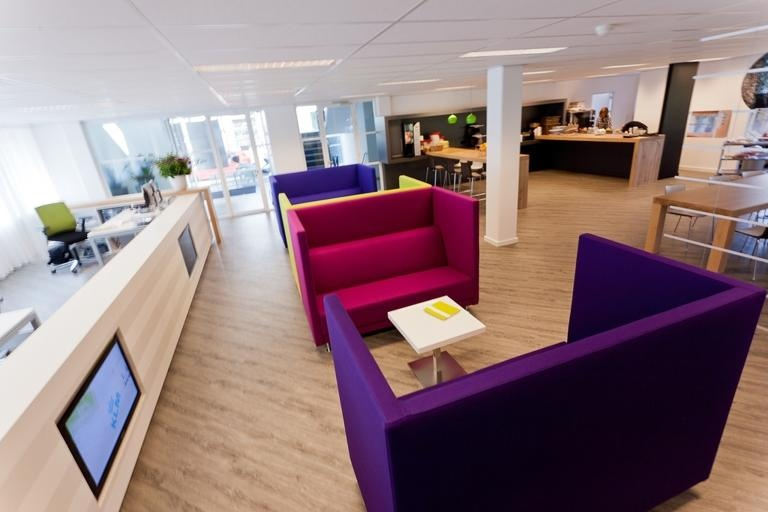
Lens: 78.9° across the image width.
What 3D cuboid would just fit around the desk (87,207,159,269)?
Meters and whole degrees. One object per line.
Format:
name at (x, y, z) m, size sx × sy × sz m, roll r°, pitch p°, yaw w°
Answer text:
desk at (-4.032, -0.269, 7.198) m, size 0.768 × 0.539 × 1.056 m, roll 8°, pitch 29°, yaw 11°

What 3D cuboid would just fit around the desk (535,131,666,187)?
desk at (5.048, -2.502, 11.565) m, size 1.339 × 1.095 × 3.206 m, roll -17°, pitch 23°, yaw -27°

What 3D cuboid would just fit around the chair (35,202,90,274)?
chair at (-5.698, -0.356, 8.409) m, size 0.802 × 1.068 × 0.828 m, roll 4°, pitch 20°, yaw 5°

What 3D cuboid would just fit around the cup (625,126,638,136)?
cup at (5.641, -2.826, 10.611) m, size 0.270 × 0.240 × 0.282 m, roll -9°, pitch 35°, yaw 6°

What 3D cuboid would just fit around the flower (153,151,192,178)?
flower at (-4.043, -1.639, 9.054) m, size 0.664 × 0.473 × 0.705 m, roll -4°, pitch 22°, yaw -16°

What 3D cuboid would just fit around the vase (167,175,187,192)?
vase at (-3.955, -1.454, 8.983) m, size 0.396 × 0.267 × 0.318 m, roll -14°, pitch 32°, yaw -28°

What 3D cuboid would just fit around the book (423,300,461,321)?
book at (0.617, 0.559, 4.857) m, size 0.194 × 0.031 × 0.220 m, roll 25°, pitch 38°, yaw 36°

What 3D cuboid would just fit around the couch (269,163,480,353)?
couch at (-0.141, 0.491, 6.419) m, size 2.886 × 1.923 × 1.921 m, roll -12°, pitch 30°, yaw -19°

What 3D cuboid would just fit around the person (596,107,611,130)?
person at (5.400, -3.360, 11.421) m, size 0.247 × 0.456 × 0.703 m, roll 1°, pitch 21°, yaw 20°
